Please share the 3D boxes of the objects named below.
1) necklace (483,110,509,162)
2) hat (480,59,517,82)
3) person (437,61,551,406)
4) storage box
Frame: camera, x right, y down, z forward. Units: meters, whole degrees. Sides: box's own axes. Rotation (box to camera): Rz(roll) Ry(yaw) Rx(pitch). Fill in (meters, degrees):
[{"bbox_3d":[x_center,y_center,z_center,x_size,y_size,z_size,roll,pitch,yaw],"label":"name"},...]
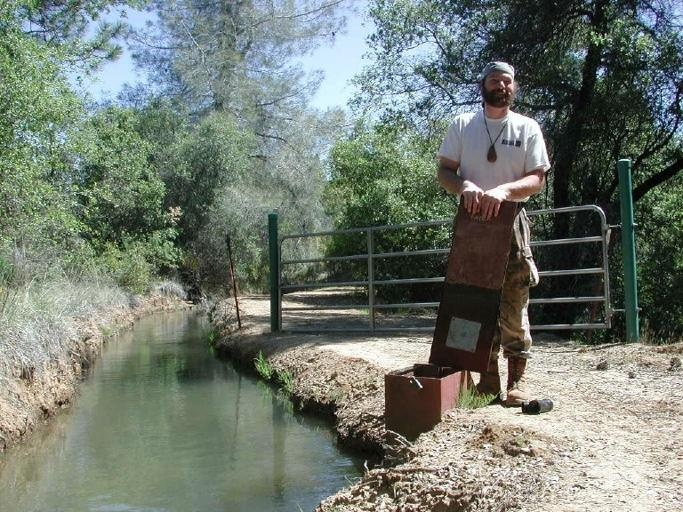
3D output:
[{"bbox_3d":[1.437,-1.106,6.174,0.222,0.468,0.158,2,7,11],"label":"necklace"},{"bbox_3d":[1.445,-1.756,6.254,0.271,0.143,0.284,-3,9,-17],"label":"hat"},{"bbox_3d":[1.456,-0.223,6.300,0.844,3.311,0.902,6,9,38],"label":"person"},{"bbox_3d":[0.855,1.269,6.428,0.627,0.736,0.717,-3,0,32],"label":"storage box"}]
